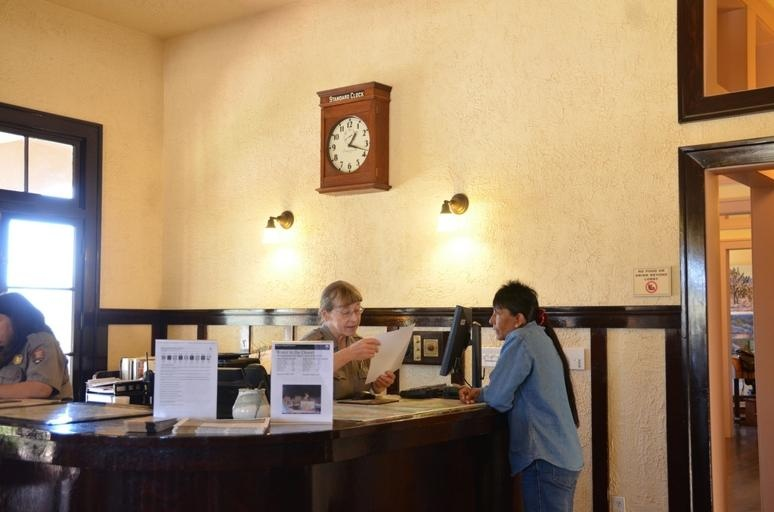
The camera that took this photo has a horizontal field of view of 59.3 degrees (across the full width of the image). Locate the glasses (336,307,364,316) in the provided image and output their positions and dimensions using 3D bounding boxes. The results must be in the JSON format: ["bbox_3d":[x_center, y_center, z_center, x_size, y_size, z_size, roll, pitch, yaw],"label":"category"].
[{"bbox_3d":[-0.222,0.331,4.141,0.154,0.051,0.048,3,-7,-37],"label":"glasses"}]

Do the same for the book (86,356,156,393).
[{"bbox_3d":[-2.169,0.889,5.296,0.500,0.239,0.666,-4,-5,41],"label":"book"}]

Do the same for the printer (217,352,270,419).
[{"bbox_3d":[-0.774,0.702,3.656,0.237,0.313,0.320,1,-2,3],"label":"printer"}]

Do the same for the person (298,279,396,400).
[{"bbox_3d":[-0.239,0.502,4.077,0.499,0.710,0.889,0,-6,-16],"label":"person"}]

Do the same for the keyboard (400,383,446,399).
[{"bbox_3d":[0.218,0.823,4.122,0.278,0.065,0.160,0,-6,-12],"label":"keyboard"}]

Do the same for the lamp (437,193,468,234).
[{"bbox_3d":[0.466,-0.353,5.085,0.191,0.299,0.178,4,-9,-30],"label":"lamp"}]

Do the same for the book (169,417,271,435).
[{"bbox_3d":[-0.751,0.771,3.081,0.435,0.050,0.262,-1,-6,-5],"label":"book"}]

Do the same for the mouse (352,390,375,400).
[{"bbox_3d":[-0.136,0.837,4.096,0.060,0.031,0.105,-1,-3,31],"label":"mouse"}]

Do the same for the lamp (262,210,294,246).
[{"bbox_3d":[-0.951,-0.272,5.870,0.246,0.262,0.193,-8,21,-37],"label":"lamp"}]

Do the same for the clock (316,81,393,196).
[{"bbox_3d":[-0.276,-0.931,5.446,0.630,0.833,0.205,-4,-6,23],"label":"clock"}]
